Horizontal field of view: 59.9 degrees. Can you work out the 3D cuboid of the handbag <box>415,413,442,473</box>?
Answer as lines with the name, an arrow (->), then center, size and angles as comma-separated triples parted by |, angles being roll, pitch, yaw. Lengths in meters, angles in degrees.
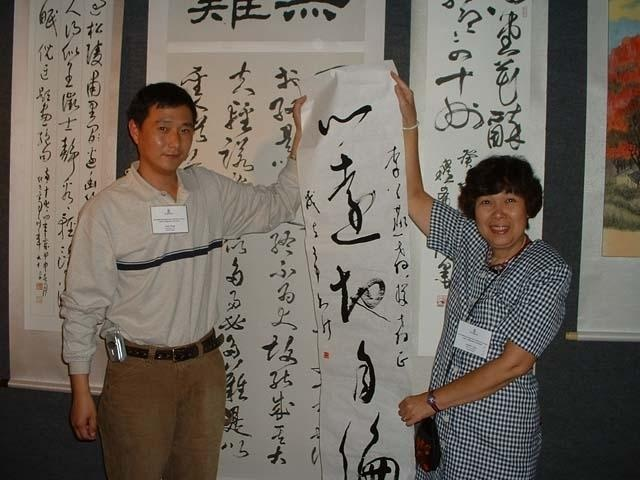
handbag -> 0.450, 0.857, 2.337 | 0.046, 0.215, 0.142 | 4, -18, -30

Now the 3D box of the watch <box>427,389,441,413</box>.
watch -> 0.457, 0.661, 2.250 | 0.028, 0.079, 0.075 | -12, 8, -4

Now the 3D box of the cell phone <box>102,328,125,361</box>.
cell phone -> -0.916, 0.467, 2.457 | 0.149, 0.101, 0.052 | 5, 2, 28
